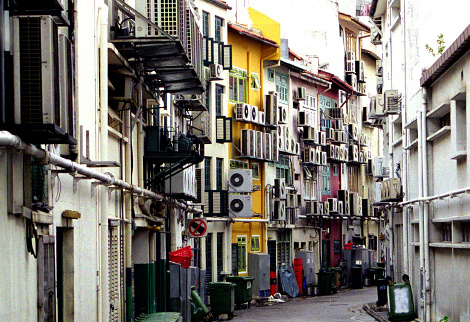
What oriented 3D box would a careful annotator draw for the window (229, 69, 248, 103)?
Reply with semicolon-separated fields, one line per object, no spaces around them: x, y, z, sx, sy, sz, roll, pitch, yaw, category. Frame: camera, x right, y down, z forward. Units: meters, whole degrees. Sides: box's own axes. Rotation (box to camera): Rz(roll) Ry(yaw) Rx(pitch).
0.177;-3.660;52.319;0.209;1.871;2.386;-5;12;-27;window

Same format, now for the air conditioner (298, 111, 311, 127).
3.729;-2.204;58.491;0.581;1.163;1.190;-2;-5;15;air conditioner

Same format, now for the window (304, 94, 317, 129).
4.392;-2.854;61.515;0.508;1.422;1.470;2;-2;3;window

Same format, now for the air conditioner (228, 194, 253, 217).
0.280;2.062;50.190;1.335;1.400;0.855;0;-7;-3;air conditioner

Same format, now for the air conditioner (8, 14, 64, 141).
-4.392;-1.930;24.035;0.804;2.375;2.366;1;1;-8;air conditioner

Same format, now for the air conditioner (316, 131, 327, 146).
4.891;-1.288;60.502;0.559;1.140;1.154;-1;-5;12;air conditioner

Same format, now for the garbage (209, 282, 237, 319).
-0.335;5.185;40.690;1.110;1.808;1.287;0;-1;-17;garbage

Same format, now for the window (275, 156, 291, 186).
2.473;0.467;56.102;0.111;1.554;1.441;-2;-3;27;window

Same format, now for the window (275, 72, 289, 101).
2.454;-3.852;56.779;0.133;1.511;1.456;-5;-7;28;window

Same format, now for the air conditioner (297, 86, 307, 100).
3.644;-3.593;58.175;0.479;0.940;0.944;-1;-4;14;air conditioner

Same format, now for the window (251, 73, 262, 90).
1.041;-4.002;53.662;0.561;0.873;0.856;-2;-4;6;window

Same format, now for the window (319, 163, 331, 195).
5.179;0.982;62.685;0.123;1.794;1.735;1;0;21;window

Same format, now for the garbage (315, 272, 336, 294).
4.696;6.226;55.522;0.744;1.034;1.065;14;-5;18;garbage

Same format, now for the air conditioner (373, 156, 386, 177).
6.844;-0.101;50.638;0.554;1.110;1.106;2;30;10;air conditioner

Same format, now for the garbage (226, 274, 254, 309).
0.265;5.323;44.561;0.853;1.295;1.026;-5;-4;24;garbage

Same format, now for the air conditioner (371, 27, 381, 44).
6.877;-6.166;52.609;0.282;0.527;0.577;-6;-46;9;air conditioner
